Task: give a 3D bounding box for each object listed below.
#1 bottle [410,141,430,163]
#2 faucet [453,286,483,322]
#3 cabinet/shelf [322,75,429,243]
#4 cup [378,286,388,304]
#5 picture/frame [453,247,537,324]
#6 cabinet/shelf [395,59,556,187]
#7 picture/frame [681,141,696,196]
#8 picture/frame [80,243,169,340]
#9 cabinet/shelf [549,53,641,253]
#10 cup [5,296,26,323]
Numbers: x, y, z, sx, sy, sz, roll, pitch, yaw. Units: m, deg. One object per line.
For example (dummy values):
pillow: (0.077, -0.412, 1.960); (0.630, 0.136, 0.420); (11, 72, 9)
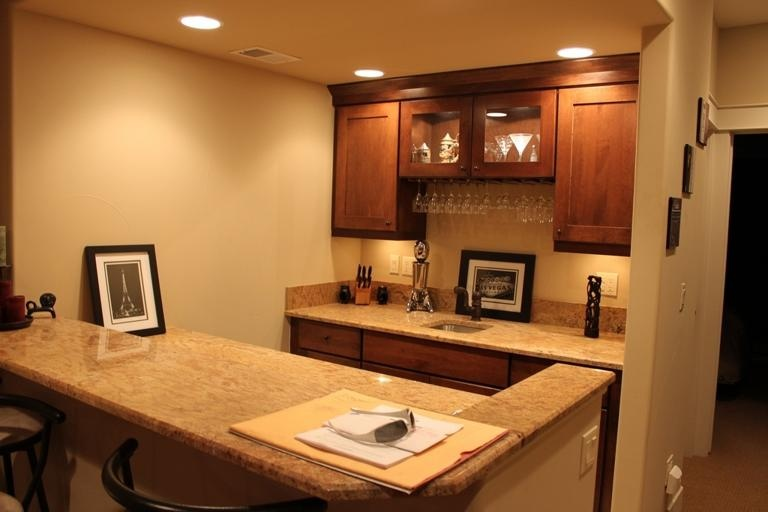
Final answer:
bottle: (0.272, -0.751, 3.960); (0.150, 0.210, 0.134); (4, 6, 39)
faucet: (0.617, 0.343, 3.971); (0.234, 0.236, 0.083); (4, -7, -24)
cabinet/shelf: (-0.036, -0.701, 4.334); (0.667, 1.082, 0.595); (3, 3, 12)
cup: (-0.009, 0.314, 4.406); (0.102, 0.143, 0.121); (-1, -6, 18)
picture/frame: (0.836, 0.219, 3.981); (0.496, 0.473, 0.041); (5, -7, 31)
cabinet/shelf: (0.672, -0.841, 3.869); (1.162, 0.574, 0.333); (5, 4, 30)
picture/frame: (1.778, -0.502, 3.186); (0.028, 0.267, 0.198); (3, 2, 40)
picture/frame: (-1.490, 0.192, 3.160); (0.368, 0.513, 0.172); (-4, 7, -31)
cabinet/shelf: (1.295, -0.645, 3.358); (0.453, 1.117, 0.161); (1, 7, 19)
cup: (-1.828, 0.256, 2.716); (0.074, 0.128, 0.101); (5, 8, 40)
